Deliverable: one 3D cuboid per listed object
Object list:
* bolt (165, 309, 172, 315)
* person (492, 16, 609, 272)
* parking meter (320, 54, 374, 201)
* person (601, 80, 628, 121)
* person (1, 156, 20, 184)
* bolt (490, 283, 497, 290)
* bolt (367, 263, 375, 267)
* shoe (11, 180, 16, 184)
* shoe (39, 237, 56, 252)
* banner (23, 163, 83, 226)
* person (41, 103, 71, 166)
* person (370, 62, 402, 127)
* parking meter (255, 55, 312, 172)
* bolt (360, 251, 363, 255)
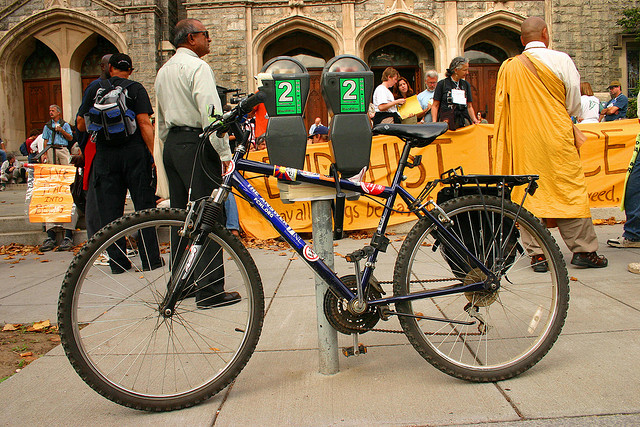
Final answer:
[{"bbox_3d":[-1.271,0.817,5.296,0.051,0.041,0.015,-5,9,-15],"label":"bolt"},{"bbox_3d":[2.669,-0.836,7.448,1.230,2.838,0.961,-1,-1,14],"label":"person"},{"bbox_3d":[0.249,-0.854,5.559,0.440,1.065,0.230,-3,8,3],"label":"parking meter"},{"bbox_3d":[5.840,-2.203,12.565,0.455,0.805,0.472,-13,13,-23],"label":"person"},{"bbox_3d":[-7.529,-1.069,15.377,0.394,0.611,1.487,-7,9,-25],"label":"person"},{"bbox_3d":[1.509,0.631,5.516,0.036,0.040,0.060,-2,1,1],"label":"bolt"},{"bbox_3d":[0.436,0.438,5.473,0.028,0.011,0.027,26,-7,25],"label":"bolt"},{"bbox_3d":[-7.235,-0.752,14.952,0.063,0.087,0.040,3,2,-13],"label":"shoe"},{"bbox_3d":[-4.200,0.470,9.751,0.244,0.185,0.250,-6,9,-23],"label":"shoe"},{"bbox_3d":[-4.168,-0.265,9.904,1.216,0.117,1.404,-1,48,-13],"label":"banner"},{"bbox_3d":[-5.491,-1.376,13.203,0.605,1.684,0.498,1,4,-10],"label":"person"},{"bbox_3d":[1.104,-1.927,10.938,0.597,1.152,0.577,-2,4,-6],"label":"person"},{"bbox_3d":[-0.300,-0.774,5.551,0.453,1.199,0.207,-2,-2,-4],"label":"parking meter"},{"bbox_3d":[0.353,0.334,5.430,0.027,0.028,0.014,-5,9,-14],"label":"bolt"}]
